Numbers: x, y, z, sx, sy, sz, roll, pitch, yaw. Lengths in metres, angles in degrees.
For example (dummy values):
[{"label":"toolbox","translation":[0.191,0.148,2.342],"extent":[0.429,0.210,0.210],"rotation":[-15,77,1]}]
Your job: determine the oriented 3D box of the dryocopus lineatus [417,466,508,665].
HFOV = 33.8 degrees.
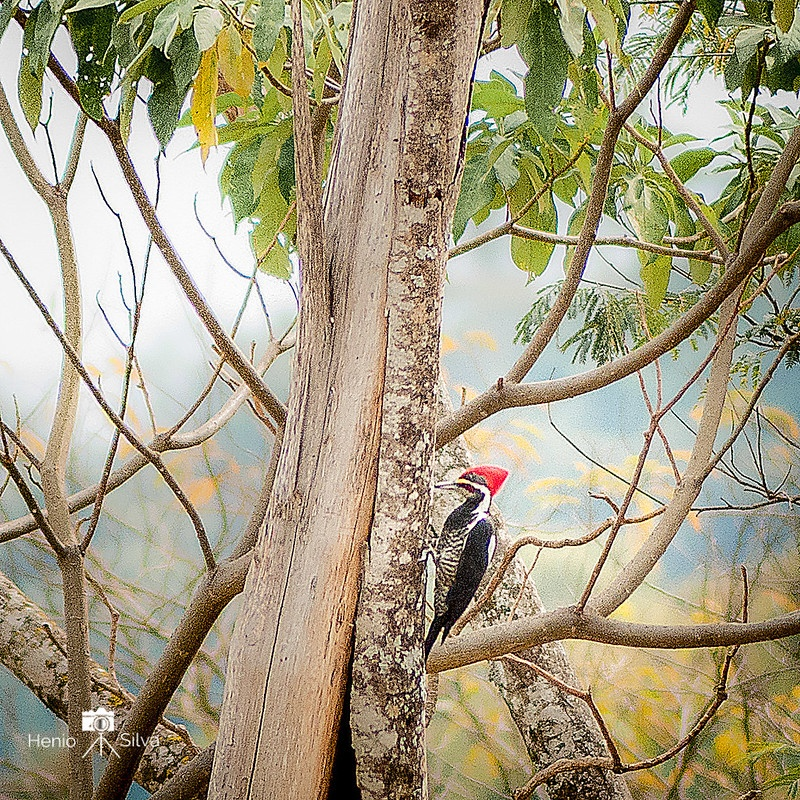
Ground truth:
[{"label":"dryocopus lineatus","translation":[0.124,0.313,2.664],"extent":[0.138,0.482,0.224],"rotation":[10,-48,0]}]
